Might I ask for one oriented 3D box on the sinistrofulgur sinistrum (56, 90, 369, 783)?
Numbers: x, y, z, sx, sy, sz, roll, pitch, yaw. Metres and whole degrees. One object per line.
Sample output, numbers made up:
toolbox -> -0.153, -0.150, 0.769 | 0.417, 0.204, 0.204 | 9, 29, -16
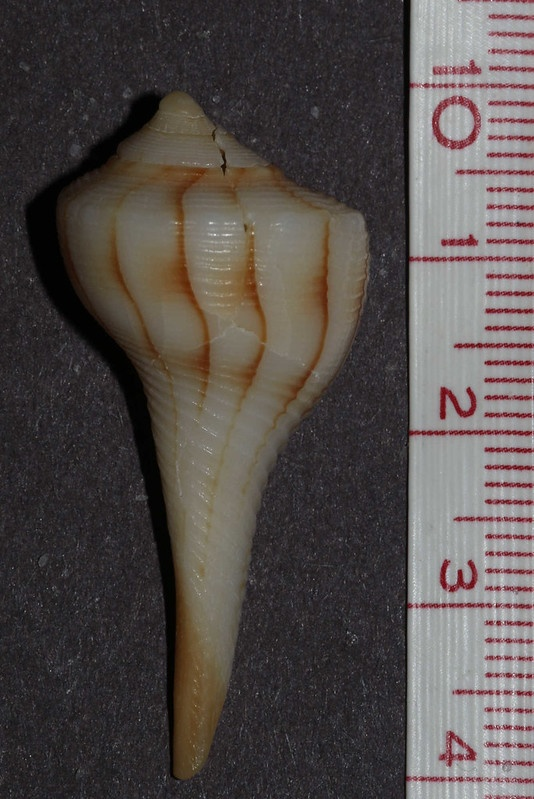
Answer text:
sinistrofulgur sinistrum -> -0.061, 0.043, 0.882 | 0.270, 0.258, 0.608 | 10, 104, 31
